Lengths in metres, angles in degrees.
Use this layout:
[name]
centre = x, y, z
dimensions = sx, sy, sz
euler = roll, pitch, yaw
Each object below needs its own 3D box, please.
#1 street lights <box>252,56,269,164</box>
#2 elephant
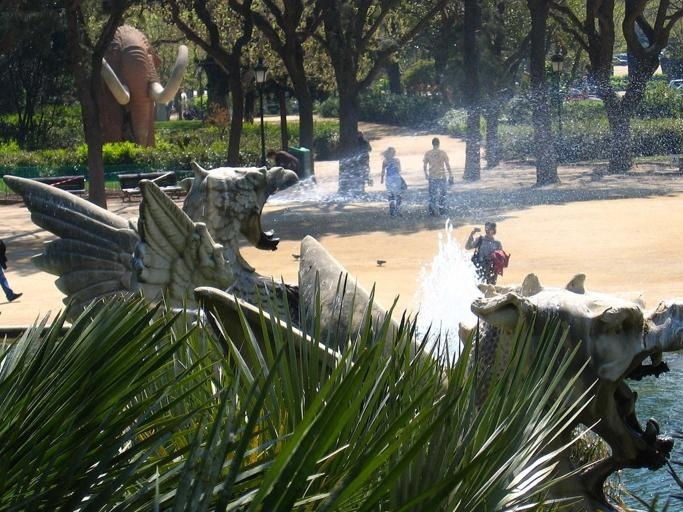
[street lights]
centre = -3.045, -5.465, 44.505
dimensions = 0.517, 5.945, 0.561
euler = -3, 11, -24
[elephant]
centre = -7.091, -5.839, 41.203
dimensions = 2.470, 4.377, 5.417
euler = -5, 10, -12
